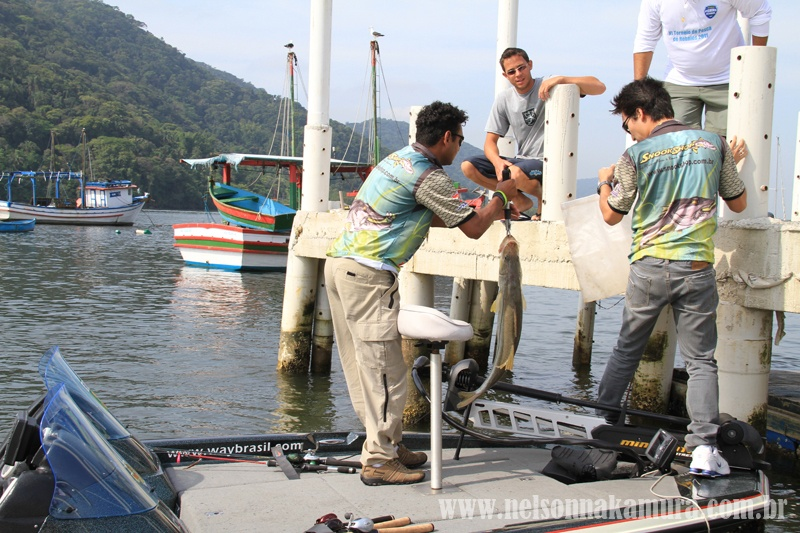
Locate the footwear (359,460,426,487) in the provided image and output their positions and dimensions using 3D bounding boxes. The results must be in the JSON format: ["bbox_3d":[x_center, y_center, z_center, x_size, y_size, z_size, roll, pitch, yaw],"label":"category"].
[{"bbox_3d":[-0.123,2.336,13.013,0.788,0.311,0.262,0,0,-7],"label":"footwear"}]

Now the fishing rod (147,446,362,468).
[{"bbox_3d":[-1.849,2.223,13.337,1.533,0.224,0.197,3,4,1],"label":"fishing rod"}]
